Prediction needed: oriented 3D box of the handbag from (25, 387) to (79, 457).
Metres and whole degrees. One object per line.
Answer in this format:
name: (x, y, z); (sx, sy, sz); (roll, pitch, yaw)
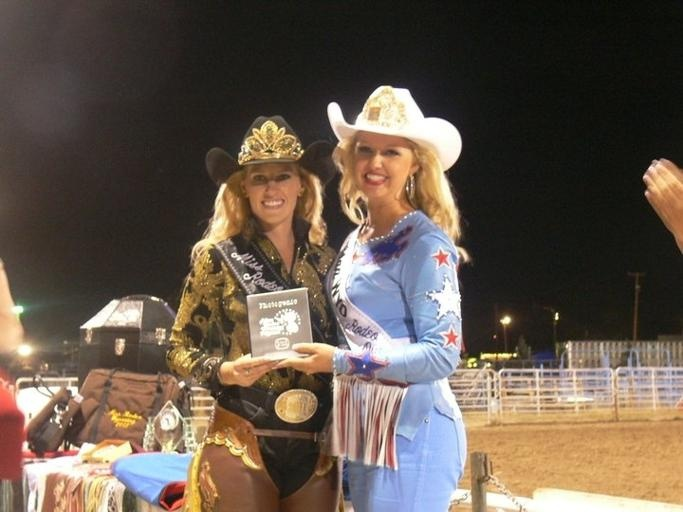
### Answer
handbag: (-3.134, 1.758, 7.159); (0.424, 0.785, 0.310); (33, -26, -16)
